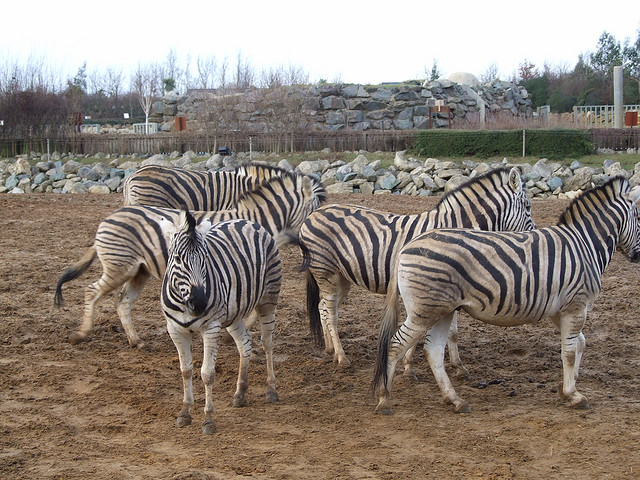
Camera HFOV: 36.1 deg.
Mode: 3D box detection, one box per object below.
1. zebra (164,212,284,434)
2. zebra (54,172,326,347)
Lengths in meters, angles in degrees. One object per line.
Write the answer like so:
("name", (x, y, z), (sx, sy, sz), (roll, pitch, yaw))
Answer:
("zebra", (-1.208, 0.988, 12.477), (0.644, 2.716, 1.588), (7, 8, 43))
("zebra", (-1.803, 0.318, 13.913), (3.984, 2.765, 1.017), (3, 8, 5))
